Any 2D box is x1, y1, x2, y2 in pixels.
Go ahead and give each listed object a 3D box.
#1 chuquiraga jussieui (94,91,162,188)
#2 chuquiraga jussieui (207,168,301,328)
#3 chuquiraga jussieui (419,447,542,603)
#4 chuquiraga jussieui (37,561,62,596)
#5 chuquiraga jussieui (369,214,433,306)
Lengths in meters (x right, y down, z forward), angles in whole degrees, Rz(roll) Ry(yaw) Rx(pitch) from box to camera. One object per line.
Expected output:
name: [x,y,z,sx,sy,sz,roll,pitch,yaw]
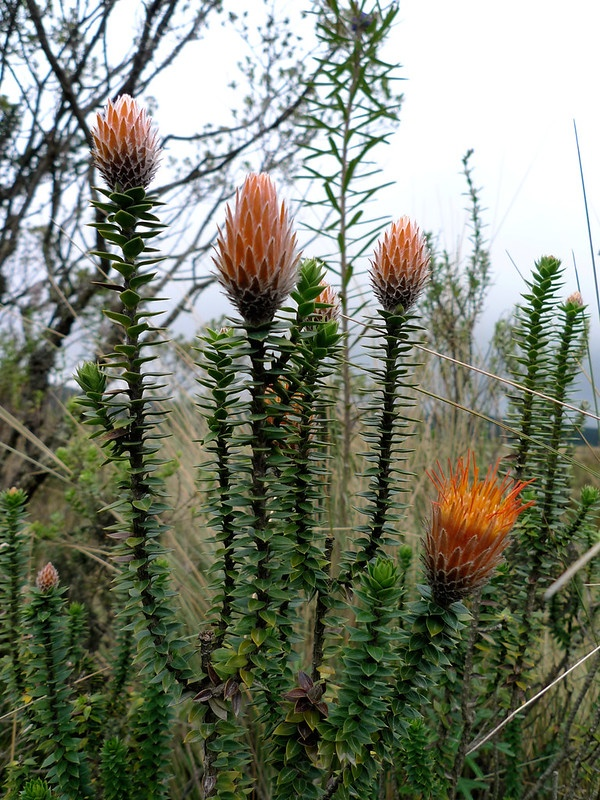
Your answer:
chuquiraga jussieui: [-0.664,-0.954,5.294,0.254,0.420,0.249,-2,-1,-5]
chuquiraga jussieui: [-0.149,-0.554,5.149,0.313,0.558,0.182,11,-7,-3]
chuquiraga jussieui: [0.640,0.504,5.291,0.367,0.573,0.236,10,-7,4]
chuquiraga jussieui: [-1.031,0.731,5.739,0.114,0.150,0.110,0,5,-38]
chuquiraga jussieui: [0.403,-0.531,5.461,0.218,0.367,0.135,10,-7,2]
